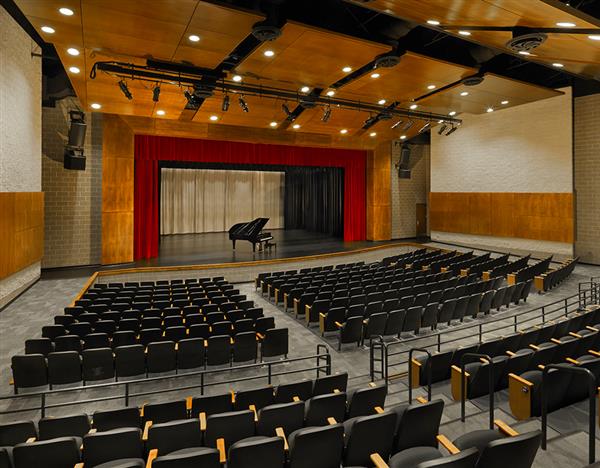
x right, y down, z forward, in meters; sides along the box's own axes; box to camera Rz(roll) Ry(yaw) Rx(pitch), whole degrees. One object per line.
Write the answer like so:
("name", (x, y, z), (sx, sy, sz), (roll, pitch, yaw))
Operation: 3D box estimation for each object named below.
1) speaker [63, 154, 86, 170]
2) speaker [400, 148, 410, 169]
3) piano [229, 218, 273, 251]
("speaker", (-7.847, -2.505, 14.890), (0.637, 0.541, 0.623), (-7, -7, 38))
("speaker", (5.906, -4.265, 23.689), (0.834, 1.198, 0.279), (-3, 2, -40))
("piano", (-2.127, -0.030, 19.436), (2.107, 1.363, 1.514), (1, 2, 45))
